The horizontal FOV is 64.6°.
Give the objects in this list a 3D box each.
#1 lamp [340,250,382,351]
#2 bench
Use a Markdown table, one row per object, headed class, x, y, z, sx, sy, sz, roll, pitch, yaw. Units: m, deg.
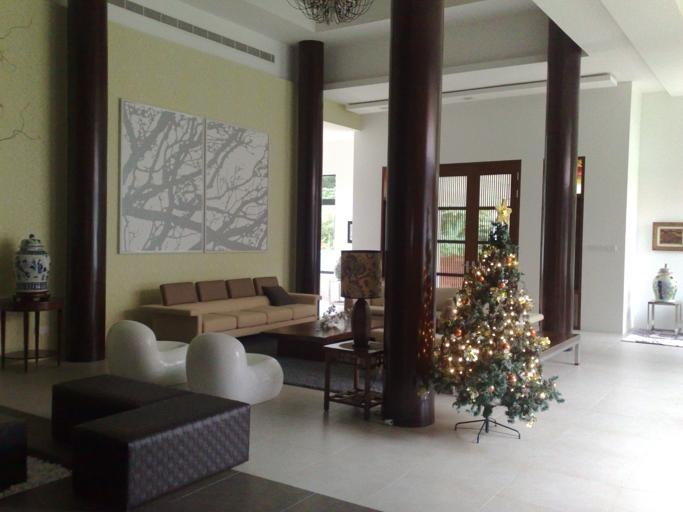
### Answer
| class | x | y | z | sx | sy | sz | roll | pitch | yaw |
| --- | --- | --- | --- | --- | --- | --- | --- | --- | --- |
| lamp | 0.189 | 0.442 | 5.379 | 0.388 | 0.972 | 0.314 | 1 | 4 | -1 |
| bench | -1.312 | 1.131 | 3.926 | 0.997 | 0.323 | 0.733 | 2 | -1 | 37 |
